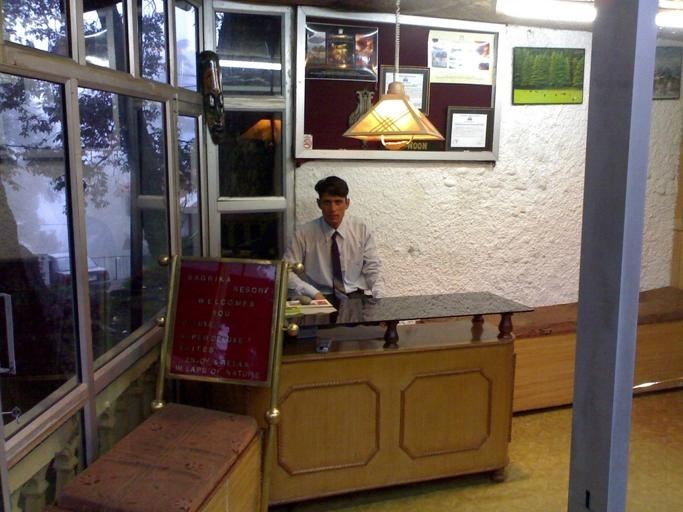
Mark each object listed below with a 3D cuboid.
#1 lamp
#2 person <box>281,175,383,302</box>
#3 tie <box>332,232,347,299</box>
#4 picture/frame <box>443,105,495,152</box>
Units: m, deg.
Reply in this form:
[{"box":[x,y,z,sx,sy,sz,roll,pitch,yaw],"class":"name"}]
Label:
[{"box":[0.254,-1.087,3.216,0.463,0.938,1.050,-2,10,1],"class":"lamp"},{"box":[-0.056,-0.032,3.952,0.701,1.025,0.700,-3,8,-15],"class":"person"},{"box":[-0.017,0.051,3.966,0.083,0.436,0.106,-4,10,-13],"class":"tie"},{"box":[0.957,-0.972,4.281,0.421,0.378,0.047,-1,6,-9],"class":"picture/frame"}]
